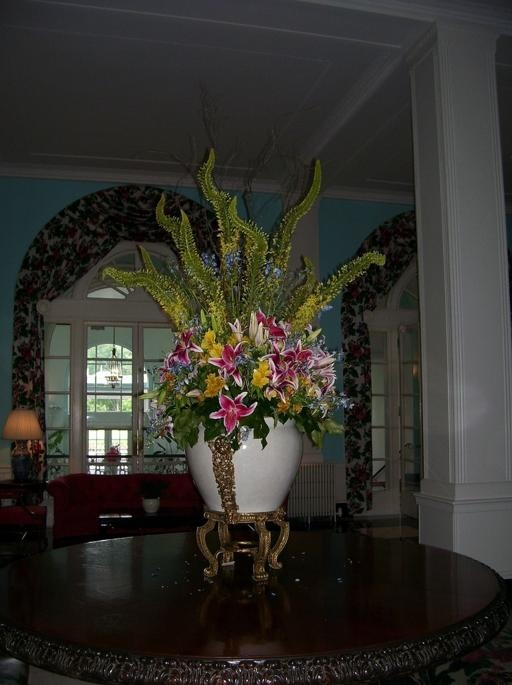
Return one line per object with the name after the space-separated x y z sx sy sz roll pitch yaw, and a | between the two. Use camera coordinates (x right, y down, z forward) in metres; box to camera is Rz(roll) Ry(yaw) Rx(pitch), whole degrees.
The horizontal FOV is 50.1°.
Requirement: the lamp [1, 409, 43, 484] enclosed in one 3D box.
-2.540 1.106 5.931 0.369 0.776 0.613 5 -13 -21 | lamp

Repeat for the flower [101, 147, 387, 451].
-0.031 -0.051 1.491 0.701 0.695 0.700 0 -8 -2 | flower

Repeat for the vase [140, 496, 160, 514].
-1.091 1.652 5.579 0.148 0.105 0.139 1 2 12 | vase

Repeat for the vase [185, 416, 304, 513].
-0.024 0.265 1.244 0.253 0.187 0.221 1 -17 -7 | vase
